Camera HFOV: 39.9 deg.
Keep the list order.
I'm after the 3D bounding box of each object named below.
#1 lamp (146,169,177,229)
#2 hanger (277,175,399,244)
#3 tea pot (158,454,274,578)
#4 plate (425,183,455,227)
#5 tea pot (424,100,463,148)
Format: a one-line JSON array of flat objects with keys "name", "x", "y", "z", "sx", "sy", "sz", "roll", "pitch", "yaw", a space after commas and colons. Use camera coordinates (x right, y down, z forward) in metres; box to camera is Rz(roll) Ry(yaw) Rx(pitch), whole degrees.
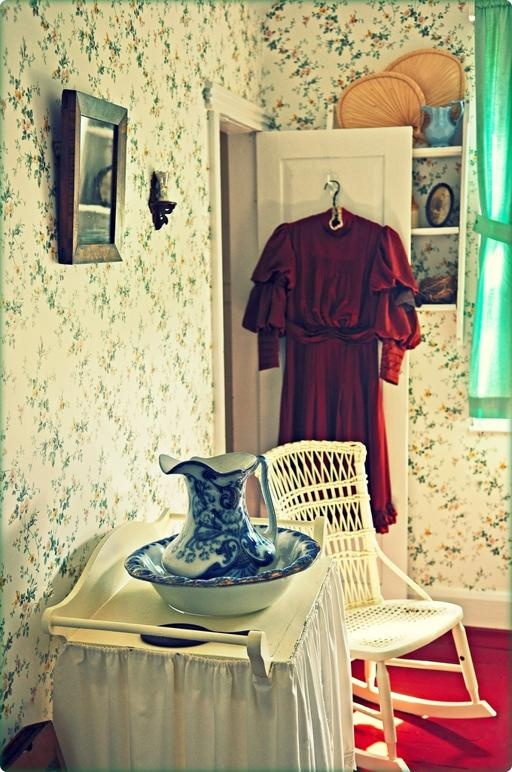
[{"name": "lamp", "x": -0.229, "y": -0.455, "z": 1.791, "sx": 0.060, "sy": 0.122, "sz": 0.196, "roll": 0, "pitch": -1, "yaw": 0}, {"name": "hanger", "x": 0.287, "y": -0.681, "z": 2.648, "sx": 0.383, "sy": 0.144, "sz": 0.071, "roll": 0, "pitch": -1, "yaw": 15}, {"name": "tea pot", "x": -0.076, "y": 0.223, "z": 1.339, "sx": 0.171, "sy": 0.266, "sz": 0.183, "roll": -1, "pitch": -5, "yaw": 0}, {"name": "plate", "x": 0.729, "y": -0.710, "z": 2.803, "sx": 0.114, "sy": 0.170, "sz": 0.048, "roll": 0, "pitch": 0, "yaw": 21}, {"name": "tea pot", "x": 0.710, "y": -0.982, "z": 2.756, "sx": 0.130, "sy": 0.205, "sz": 0.161, "roll": -1, "pitch": 6, "yaw": -15}]
